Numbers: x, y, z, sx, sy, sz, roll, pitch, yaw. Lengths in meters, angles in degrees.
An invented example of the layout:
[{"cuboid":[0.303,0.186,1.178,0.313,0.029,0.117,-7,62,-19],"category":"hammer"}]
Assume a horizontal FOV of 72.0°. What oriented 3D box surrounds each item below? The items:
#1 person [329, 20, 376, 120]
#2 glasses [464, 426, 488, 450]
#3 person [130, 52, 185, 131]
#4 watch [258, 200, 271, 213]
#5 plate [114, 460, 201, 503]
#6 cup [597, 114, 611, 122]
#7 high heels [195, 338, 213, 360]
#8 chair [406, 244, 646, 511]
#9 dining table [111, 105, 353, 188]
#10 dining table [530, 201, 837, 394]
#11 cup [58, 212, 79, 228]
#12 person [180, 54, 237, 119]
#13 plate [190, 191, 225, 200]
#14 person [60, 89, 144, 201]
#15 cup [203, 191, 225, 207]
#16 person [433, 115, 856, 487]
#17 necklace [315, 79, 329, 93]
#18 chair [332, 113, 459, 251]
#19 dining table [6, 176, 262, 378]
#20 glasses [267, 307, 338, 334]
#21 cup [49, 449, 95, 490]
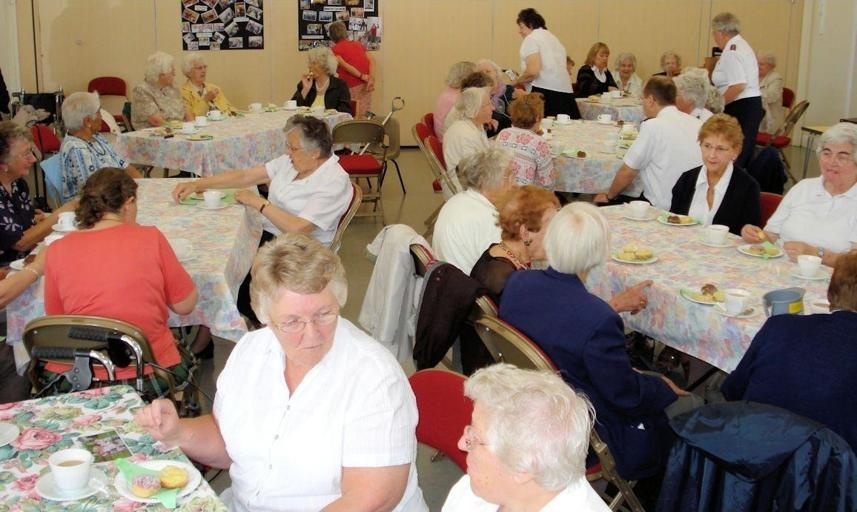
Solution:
[{"cuboid":[-1.083,-2.639,8.690,0.543,1.562,0.673,-31,57,-24],"category":"person"},{"cuboid":[0.142,0.536,1.750,0.061,0.031,0.059,12,10,-7],"category":"glasses"},{"cuboid":[-2.937,-1.791,6.593,0.655,0.836,0.698,-1,34,-31],"category":"person"},{"cuboid":[-1.122,-0.338,4.035,0.023,0.080,0.078,32,44,-20],"category":"watch"},{"cuboid":[-0.900,0.737,1.960,0.275,0.074,0.173,4,18,18],"category":"plate"},{"cuboid":[2.036,-1.591,6.776,0.160,0.086,0.131,-2,8,19],"category":"cup"},{"cuboid":[-1.531,0.654,4.081,0.066,0.083,0.196,0,7,2],"category":"high heels"},{"cuboid":[0.318,0.603,2.819,0.996,1.356,0.766,-22,33,-28],"category":"chair"},{"cuboid":[-1.903,-1.274,6.316,1.056,0.346,1.984,13,23,27],"category":"dining table"},{"cuboid":[1.576,0.096,3.200,0.956,0.352,1.468,-15,31,-29],"category":"dining table"},{"cuboid":[-2.004,-0.204,3.294,0.088,0.082,0.103,-8,21,-34],"category":"cup"},{"cuboid":[-2.637,-1.990,7.142,0.722,0.815,0.583,-5,37,-19],"category":"person"},{"cuboid":[-1.505,-0.419,4.020,0.146,0.032,0.138,2,12,14],"category":"plate"},{"cuboid":[-2.738,-0.875,4.883,0.585,0.890,0.569,-1,26,-24],"category":"person"},{"cuboid":[-1.454,-0.390,4.025,0.100,0.083,0.127,0,-1,9],"category":"cup"},{"cuboid":[1.020,0.257,2.676,1.237,0.418,1.575,2,16,-13],"category":"person"},{"cuboid":[-1.359,-2.217,7.604,0.142,0.198,0.068,-1,2,6],"category":"necklace"},{"cuboid":[-0.608,-0.962,7.144,1.302,2.076,1.592,-2,15,-3],"category":"chair"},{"cuboid":[-1.337,-0.038,3.503,0.850,0.330,1.483,6,29,0],"category":"dining table"},{"cuboid":[-0.434,0.229,2.085,0.224,0.068,0.045,-4,17,-8],"category":"glasses"},{"cuboid":[-1.164,0.682,1.928,0.110,0.096,0.134,-1,-3,6],"category":"cup"}]
